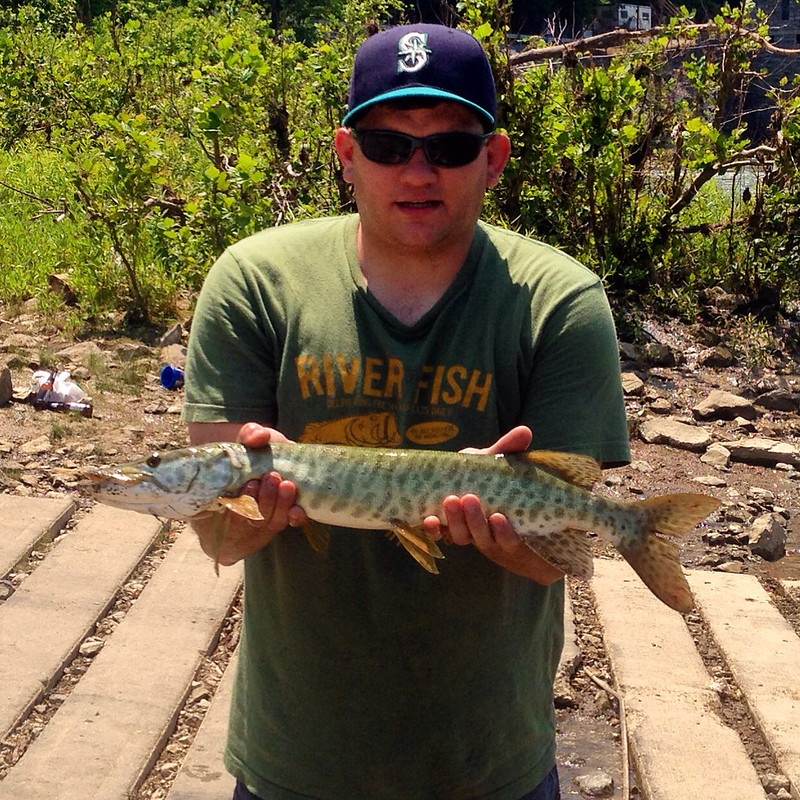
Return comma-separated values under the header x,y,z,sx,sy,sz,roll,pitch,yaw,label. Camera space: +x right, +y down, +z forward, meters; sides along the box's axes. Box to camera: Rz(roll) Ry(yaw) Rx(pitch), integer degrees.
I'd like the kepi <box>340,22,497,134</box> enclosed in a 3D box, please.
x,y,z,sx,sy,sz,roll,pitch,yaw,label
0.042,-0.849,2.143,0.388,0.196,0.423,0,23,3,kepi

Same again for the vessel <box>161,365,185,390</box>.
x,y,z,sx,sy,sz,roll,pitch,yaw,label
-1.737,-0.179,6.363,0.171,0.227,0.279,-4,19,-16,vessel
